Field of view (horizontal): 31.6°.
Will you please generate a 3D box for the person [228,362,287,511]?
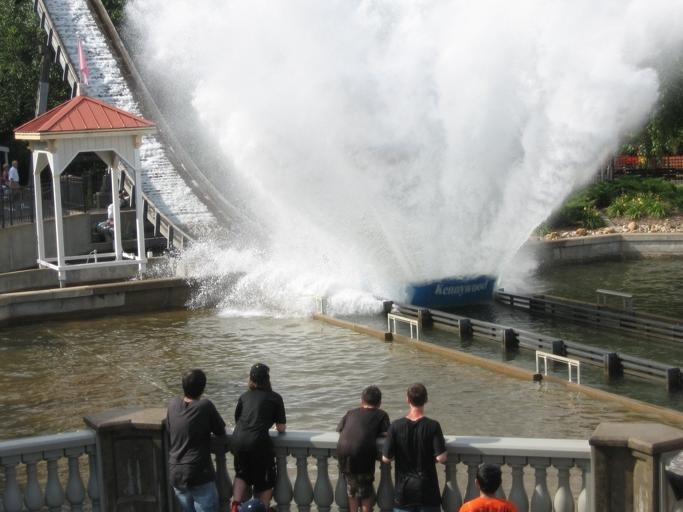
[{"bbox_3d":[-1.196,2.621,17.502,0.744,1.997,0.328,1,-2,-9],"label":"person"}]
